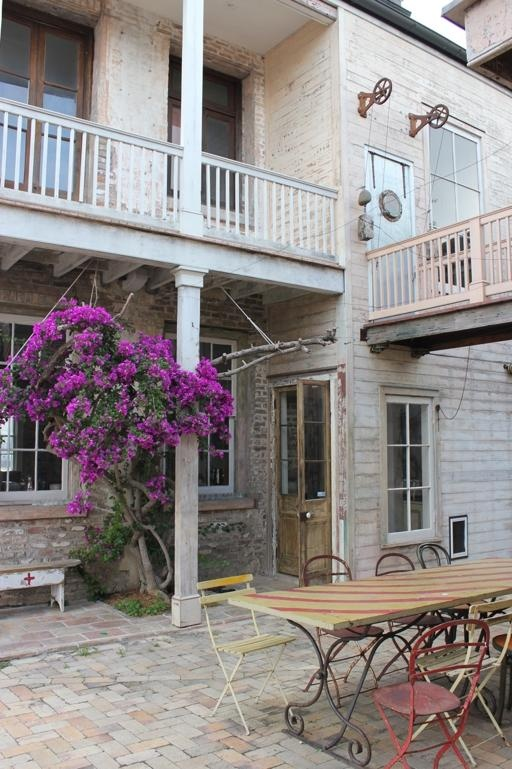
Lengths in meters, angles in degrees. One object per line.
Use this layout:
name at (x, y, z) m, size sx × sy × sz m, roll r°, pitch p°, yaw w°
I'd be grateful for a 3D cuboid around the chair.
chair at (0.735, 1.430, 4.147) m, size 1.511 × 0.725 × 1.941 m, roll -2°, pitch -4°, yaw 39°
